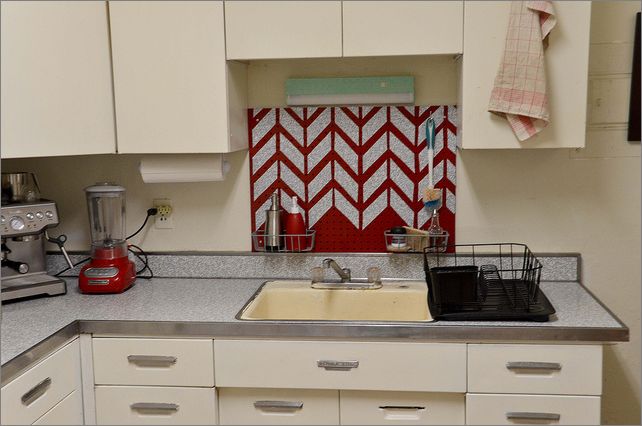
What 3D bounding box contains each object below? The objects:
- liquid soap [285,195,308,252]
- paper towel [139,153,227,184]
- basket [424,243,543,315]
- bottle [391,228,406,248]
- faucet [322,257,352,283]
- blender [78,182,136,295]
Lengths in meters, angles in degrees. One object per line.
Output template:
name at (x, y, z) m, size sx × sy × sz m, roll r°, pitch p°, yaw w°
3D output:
liquid soap at (-0.130, 0.055, 3.343) m, size 0.099 × 0.278 × 0.133 m, roll -2°, pitch 11°, yaw 0°
paper towel at (-0.659, -0.219, 3.259) m, size 0.450 × 0.150 × 0.153 m, roll 0°, pitch 5°, yaw 5°
basket at (0.755, 0.278, 3.074) m, size 0.538 × 0.254 × 0.579 m, roll -1°, pitch 11°, yaw 8°
bottle at (0.380, 0.116, 3.240) m, size 0.072 × 0.086 × 0.069 m, roll -2°, pitch 11°, yaw 0°
faucet at (0.082, 0.273, 3.297) m, size 0.131 × 0.132 × 0.170 m, roll -2°, pitch 11°, yaw 2°
blender at (-1.060, 0.105, 3.291) m, size 0.241 × 0.524 × 0.315 m, roll -1°, pitch 11°, yaw 5°
